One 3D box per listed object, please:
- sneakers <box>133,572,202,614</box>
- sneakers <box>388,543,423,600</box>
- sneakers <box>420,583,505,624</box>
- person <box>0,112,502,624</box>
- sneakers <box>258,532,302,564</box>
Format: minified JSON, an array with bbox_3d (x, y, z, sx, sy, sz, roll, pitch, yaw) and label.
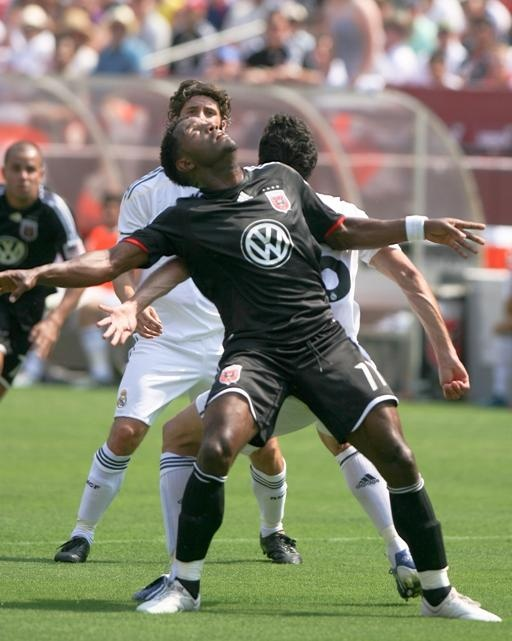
[{"bbox_3d":[-0.223,0.839,2.431,0.267,0.084,0.078,2,-2,-19],"label":"sneakers"},{"bbox_3d":[0.499,0.850,2.716,0.096,0.088,0.193,-12,36,8],"label":"sneakers"},{"bbox_3d":[0.603,0.838,2.356,0.263,0.077,0.077,2,2,11],"label":"sneakers"},{"bbox_3d":[0.012,0.119,2.565,1.496,1.524,0.838,7,11,11],"label":"person"},{"bbox_3d":[0.115,1.013,3.543,0.088,0.071,0.207,-3,4,-33],"label":"sneakers"}]
